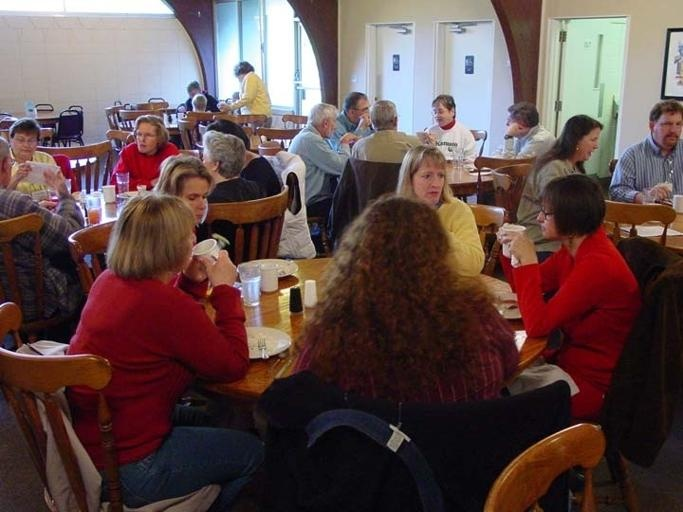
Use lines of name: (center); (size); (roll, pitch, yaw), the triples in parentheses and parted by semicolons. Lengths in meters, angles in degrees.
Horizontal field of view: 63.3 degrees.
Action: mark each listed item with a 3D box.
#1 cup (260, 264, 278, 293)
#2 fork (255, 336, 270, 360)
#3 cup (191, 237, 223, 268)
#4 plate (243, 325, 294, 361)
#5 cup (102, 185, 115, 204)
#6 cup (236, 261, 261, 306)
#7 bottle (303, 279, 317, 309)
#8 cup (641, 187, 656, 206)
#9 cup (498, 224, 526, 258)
cup: (-0.303, 0.089, 2.323); (0.079, 0.104, 0.099); (-1, 4, 2)
fork: (-0.264, 0.304, 1.820); (0.026, 0.013, 0.085); (1, 48, -2)
cup: (-0.496, -0.013, 2.062); (0.095, 0.085, 0.111); (-20, 33, 9)
plate: (-0.250, 0.301, 1.826); (0.205, 0.031, 0.219); (13, -18, 1)
cup: (-1.523, -0.409, 3.597); (0.107, 0.128, 0.109); (0, 3, 0)
cup: (-0.360, 0.113, 2.174); (0.117, 0.156, 0.094); (-4, 4, -19)
bottle: (-0.127, 0.136, 2.154); (0.056, 0.107, 0.137); (-3, 14, -4)
cup: (1.998, -0.395, 3.646); (0.079, 0.133, 0.132); (1, 12, 28)
cup: (0.673, -0.070, 2.209); (0.103, 0.131, 0.128); (-7, 14, -15)
